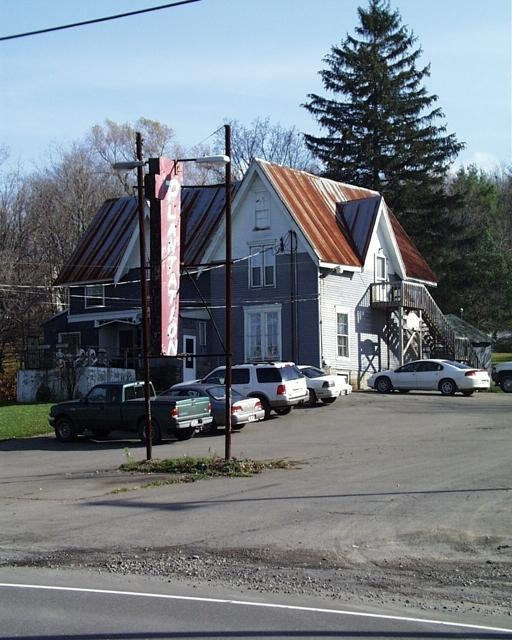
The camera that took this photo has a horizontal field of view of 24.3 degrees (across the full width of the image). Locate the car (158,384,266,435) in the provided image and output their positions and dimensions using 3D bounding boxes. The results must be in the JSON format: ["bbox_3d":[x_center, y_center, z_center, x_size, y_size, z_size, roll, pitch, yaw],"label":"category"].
[{"bbox_3d":[-1.008,2.117,27.532,2.200,0.930,1.059,3,5,43],"label":"car"}]

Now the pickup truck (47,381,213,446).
[{"bbox_3d":[-2.756,1.928,26.032,2.955,1.483,1.703,1,-1,26],"label":"pickup truck"}]

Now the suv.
[{"bbox_3d":[-0.149,1.514,30.609,2.724,1.478,1.506,1,0,23],"label":"suv"}]
